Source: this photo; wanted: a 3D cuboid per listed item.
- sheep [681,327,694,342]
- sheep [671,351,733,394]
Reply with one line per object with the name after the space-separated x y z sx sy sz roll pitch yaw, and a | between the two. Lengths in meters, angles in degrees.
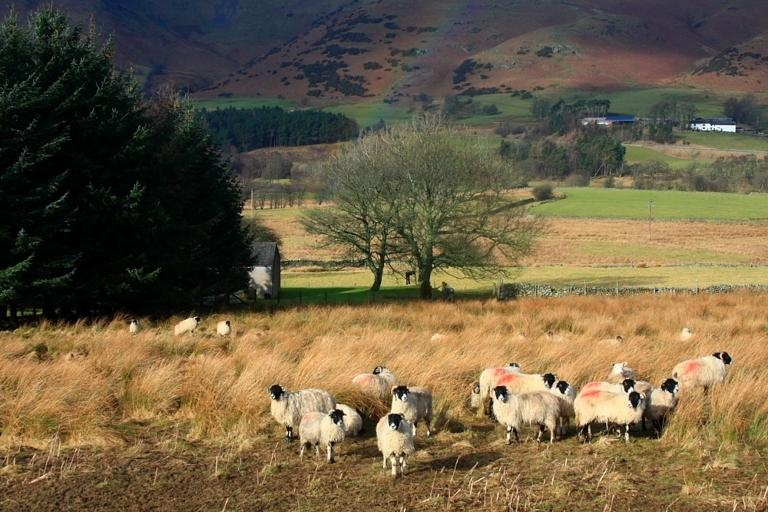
15.278 4.082 48.668 0.609 0.357 0.838 -1 25 31 | sheep
14.141 5.107 42.798 2.810 1.556 1.233 -2 5 -30 | sheep
